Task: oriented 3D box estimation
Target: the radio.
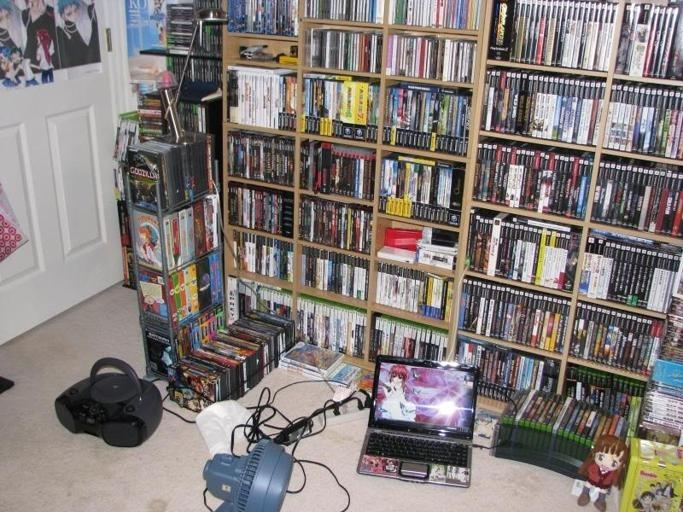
[{"bbox_3d":[-1.255,0.724,3.220,0.559,0.514,0.316,13,30,12],"label":"radio"}]
